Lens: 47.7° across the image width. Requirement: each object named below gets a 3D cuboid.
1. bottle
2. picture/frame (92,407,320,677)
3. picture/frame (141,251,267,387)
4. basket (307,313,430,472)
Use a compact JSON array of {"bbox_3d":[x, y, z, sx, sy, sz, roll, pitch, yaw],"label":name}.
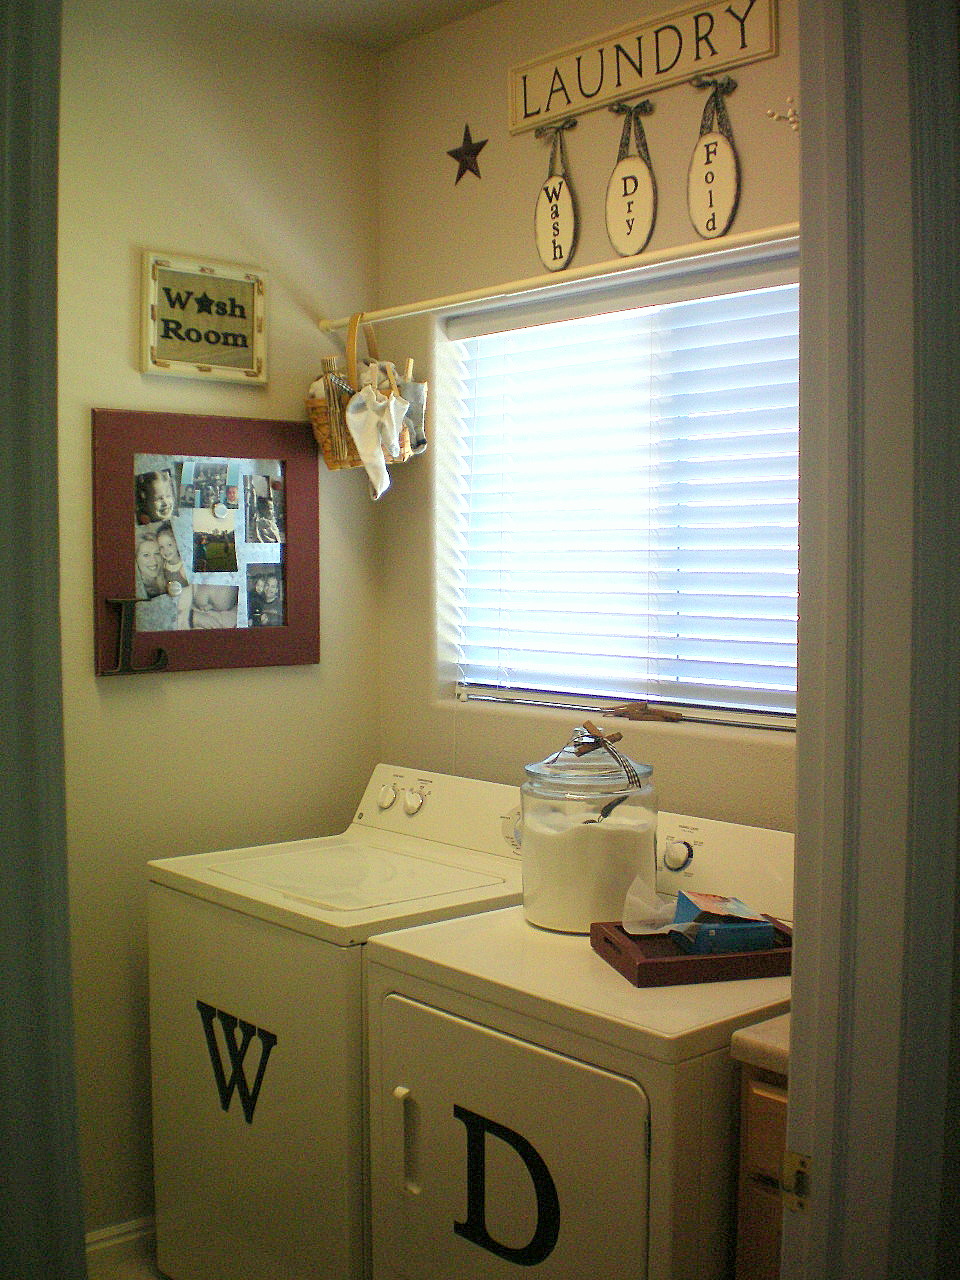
[{"bbox_3d":[0.174,0.297,1.797,0.230,0.307,0.273,-3,6,-21],"label":"bottle"},{"bbox_3d":[-0.639,-0.229,2.440,0.609,0.654,0.052,-2,2,-45],"label":"picture/frame"},{"bbox_3d":[-0.632,-0.717,2.421,0.036,0.291,0.330,2,3,43],"label":"picture/frame"},{"bbox_3d":[-0.260,-0.583,2.560,0.284,0.351,0.379,-3,6,-27],"label":"basket"}]
